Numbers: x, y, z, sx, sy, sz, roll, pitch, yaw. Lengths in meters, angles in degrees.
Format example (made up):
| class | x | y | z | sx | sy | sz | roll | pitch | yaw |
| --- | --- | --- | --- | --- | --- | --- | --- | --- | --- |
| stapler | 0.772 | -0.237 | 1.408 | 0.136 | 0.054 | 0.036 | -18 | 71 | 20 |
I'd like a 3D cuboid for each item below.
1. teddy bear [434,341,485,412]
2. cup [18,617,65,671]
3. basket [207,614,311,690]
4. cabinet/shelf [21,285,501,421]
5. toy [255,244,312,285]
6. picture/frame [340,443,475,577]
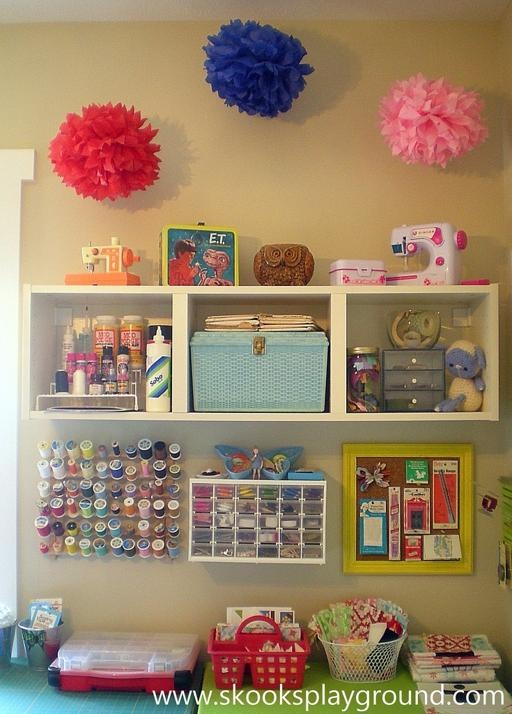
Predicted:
| class | x | y | z | sx | sy | sz | roll | pitch | yaw |
| --- | --- | --- | --- | --- | --- | --- | --- | --- | --- |
| teddy bear | 0.581 | 0.057 | 1.989 | 0.152 | 0.135 | 0.080 | -2 | -1 | 1 |
| cup | -0.653 | 0.864 | 2.121 | 0.133 | 0.111 | 0.131 | 0 | -3 | 0 |
| basket | 0.008 | 0.871 | 2.069 | 0.293 | 0.170 | 0.177 | -1 | -8 | 0 |
| cabinet/shelf | 0.001 | -0.005 | 2.086 | 1.373 | 0.421 | 0.306 | -1 | -1 | 0 |
| toy | 0.080 | -0.264 | 2.057 | 0.177 | 0.117 | 0.119 | 0 | 0 | -1 |
| picture/frame | 0.469 | 0.491 | 2.173 | 0.459 | 0.399 | 0.031 | 1 | -5 | -1 |
